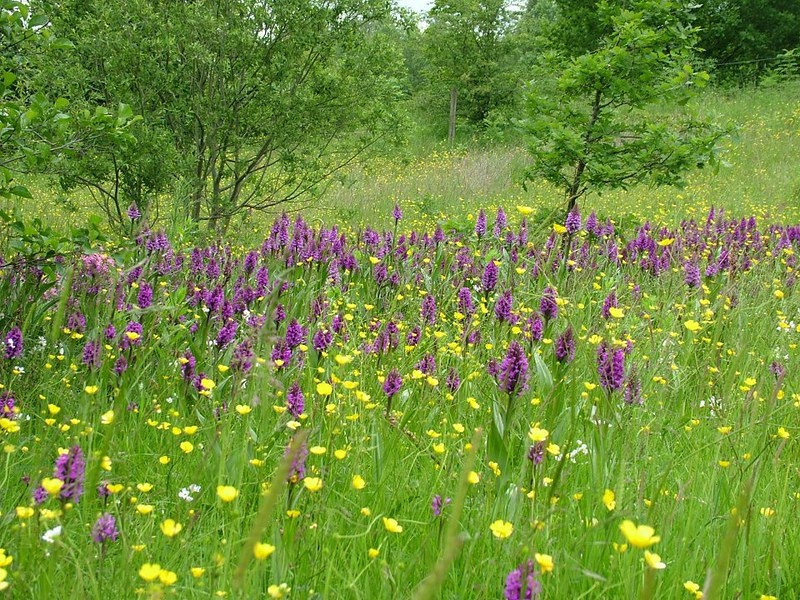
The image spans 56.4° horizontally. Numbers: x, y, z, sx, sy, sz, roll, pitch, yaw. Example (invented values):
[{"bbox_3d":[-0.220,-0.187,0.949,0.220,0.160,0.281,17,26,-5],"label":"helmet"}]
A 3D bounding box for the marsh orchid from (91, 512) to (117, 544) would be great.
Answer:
[{"bbox_3d":[-1.261,0.982,3.192,0.104,0.160,0.106,-4,5,-40],"label":"marsh orchid"}]
